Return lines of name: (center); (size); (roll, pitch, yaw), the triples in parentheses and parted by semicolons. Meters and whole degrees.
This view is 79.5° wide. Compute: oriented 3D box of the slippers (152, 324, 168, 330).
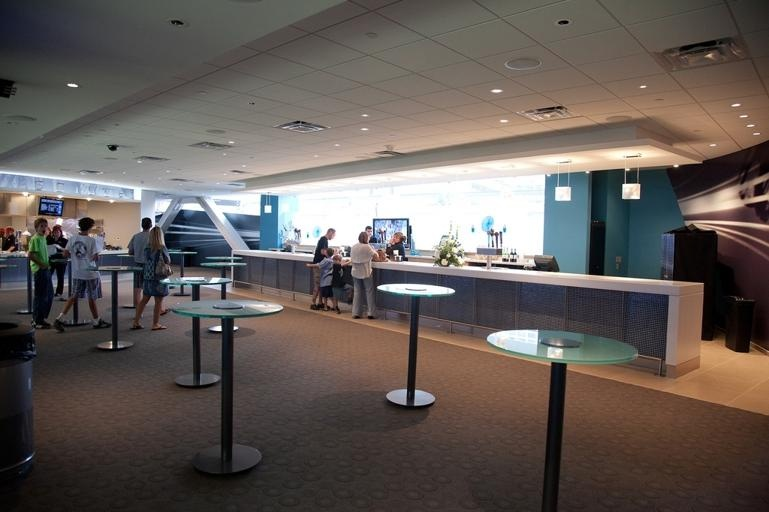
slippers: (-4.205, 1.334, 8.678); (0.255, 0.139, 0.086); (-2, 5, -32)

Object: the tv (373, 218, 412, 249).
tv: (0.251, -0.680, 13.958); (1.264, 0.759, 0.125); (2, 0, 42)

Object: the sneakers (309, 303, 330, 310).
sneakers: (-1.546, 1.211, 11.041); (0.510, 0.154, 0.162); (1, 0, -12)

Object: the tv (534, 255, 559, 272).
tv: (3.338, 0.155, 9.622); (0.493, 0.342, 0.429); (5, -19, 25)

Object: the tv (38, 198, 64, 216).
tv: (-12.318, -1.808, 17.015); (0.422, 0.601, 0.831); (-2, -3, 39)

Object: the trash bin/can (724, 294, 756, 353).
trash bin/can: (6.624, 1.281, 8.642); (0.383, 0.923, 0.703); (8, 12, 26)

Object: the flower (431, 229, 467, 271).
flower: (1.218, -0.081, 9.438); (0.808, 0.725, 0.757); (3, 4, 43)

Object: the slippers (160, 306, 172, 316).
slippers: (-4.751, 1.190, 10.005); (0.225, 0.184, 0.581); (-1, -3, -34)

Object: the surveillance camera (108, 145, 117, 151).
surveillance camera: (-6.378, -2.551, 10.891); (0.164, 0.046, 0.135); (0, 1, 8)

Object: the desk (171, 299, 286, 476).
desk: (-1.600, 1.250, 4.739); (0.936, 1.531, 1.048); (-3, 12, -23)

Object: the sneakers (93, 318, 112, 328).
sneakers: (-5.297, 1.281, 8.847); (0.463, 0.158, 0.144); (1, 1, -27)
